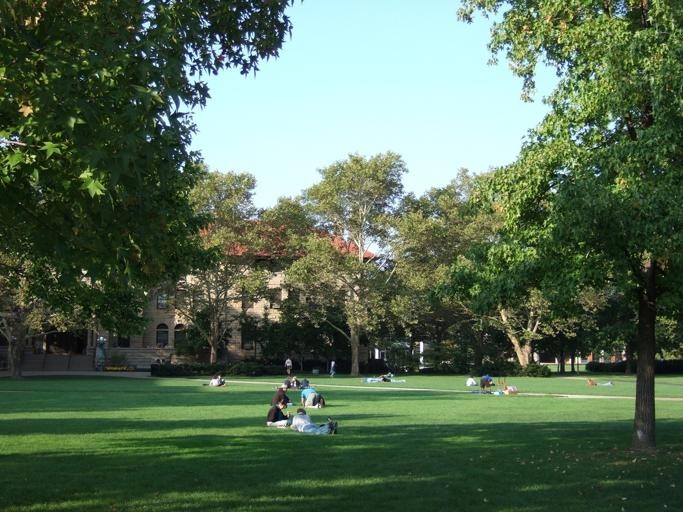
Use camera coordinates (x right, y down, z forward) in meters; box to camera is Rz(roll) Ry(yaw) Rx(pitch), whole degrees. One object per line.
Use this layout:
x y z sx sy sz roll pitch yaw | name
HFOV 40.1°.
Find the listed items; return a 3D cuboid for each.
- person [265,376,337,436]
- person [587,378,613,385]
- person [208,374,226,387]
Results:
-1.221 4.943 29.347 0.991 1.300 2.955 6 0 -43 | person
15.293 7.597 55.510 1.425 0.429 0.935 3 -6 7 | person
-6.712 6.914 50.797 0.855 0.510 1.060 0 4 -9 | person
